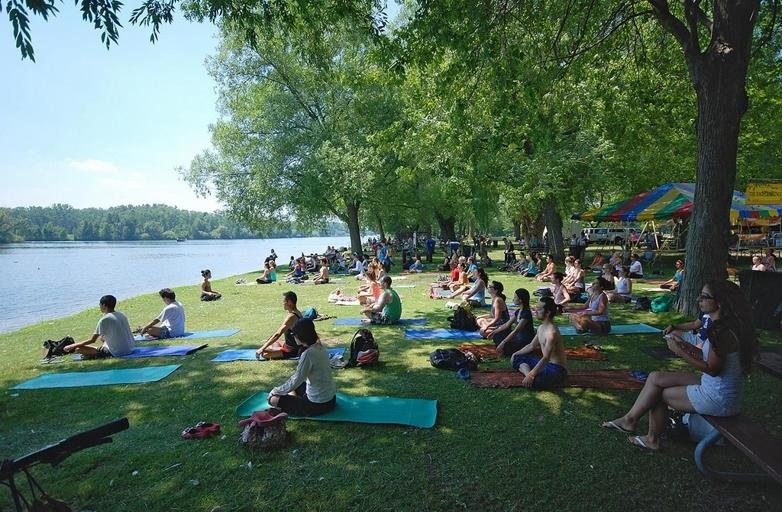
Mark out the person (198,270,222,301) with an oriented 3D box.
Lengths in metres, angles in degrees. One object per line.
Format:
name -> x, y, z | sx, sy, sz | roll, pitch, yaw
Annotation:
person -> -6.989, 1.102, 20.612 | 0.785, 1.167, 1.022 | 5, 9, -6

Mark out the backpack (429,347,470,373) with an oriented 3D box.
backpack -> 1.376, 2.328, 11.971 | 0.610, 0.224, 0.510 | 6, 3, 11

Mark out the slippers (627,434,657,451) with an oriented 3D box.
slippers -> 4.511, 3.305, 9.490 | 0.384, 0.090, 0.204 | 0, 18, 44

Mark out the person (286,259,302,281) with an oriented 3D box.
person -> -4.771, 0.644, 26.885 | 0.818, 0.946, 2.977 | -5, 2, -10

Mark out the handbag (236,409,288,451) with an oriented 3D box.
handbag -> -2.334, 3.143, 9.752 | 0.857, 0.616, 0.515 | -5, 3, -10

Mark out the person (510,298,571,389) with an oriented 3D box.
person -> 3.125, 1.783, 11.304 | 1.028, 1.886, 0.920 | -7, 4, -31

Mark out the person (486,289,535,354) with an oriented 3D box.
person -> 2.840, 1.512, 12.640 | 1.141, 1.368, 1.126 | -11, 10, -39

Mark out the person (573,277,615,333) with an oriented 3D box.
person -> 5.494, 1.317, 14.547 | 1.022, 1.548, 1.141 | -1, 6, -6

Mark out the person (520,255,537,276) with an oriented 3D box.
person -> 6.597, 0.483, 25.053 | 0.907, 1.268, 0.849 | 6, 1, 10

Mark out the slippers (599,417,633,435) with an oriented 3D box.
slippers -> 4.198, 3.123, 9.786 | 0.257, 0.095, 0.458 | 2, 0, -44

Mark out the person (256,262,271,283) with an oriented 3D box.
person -> -6.259, 0.780, 26.386 | 0.722, 1.028, 1.758 | -5, 3, -12

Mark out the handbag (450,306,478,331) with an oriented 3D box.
handbag -> 1.977, 1.728, 14.869 | 0.590, 0.304, 0.707 | 11, -8, -17

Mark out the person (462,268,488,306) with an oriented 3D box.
person -> 2.683, 0.963, 17.351 | 0.988, 1.282, 0.941 | -4, 15, -6

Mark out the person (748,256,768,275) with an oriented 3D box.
person -> 13.395, 0.306, 19.371 | 0.491, 0.897, 0.862 | -5, 2, 23

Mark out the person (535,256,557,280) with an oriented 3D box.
person -> 7.046, 0.531, 24.143 | 1.046, 1.335, 1.245 | 2, 1, 10

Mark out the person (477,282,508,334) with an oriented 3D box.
person -> 2.638, 1.312, 13.783 | 0.896, 1.332, 1.145 | -1, 10, 8

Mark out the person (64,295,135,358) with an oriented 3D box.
person -> -7.172, 1.733, 13.147 | 1.324, 1.155, 0.444 | -5, 4, 0

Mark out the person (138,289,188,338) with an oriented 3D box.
person -> -6.367, 1.679, 15.132 | 1.428, 1.414, 1.138 | 1, -2, 4

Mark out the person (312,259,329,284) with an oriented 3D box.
person -> -3.306, 0.677, 24.936 | 0.739, 1.166, 1.303 | -5, 3, -10

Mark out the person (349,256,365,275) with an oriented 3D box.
person -> -1.796, 0.525, 28.654 | 1.053, 1.270, 1.057 | 1, 2, 12

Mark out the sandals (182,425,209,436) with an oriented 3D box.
sandals -> -3.652, 3.236, 9.894 | 0.354, 0.104, 0.204 | 3, 6, -12
